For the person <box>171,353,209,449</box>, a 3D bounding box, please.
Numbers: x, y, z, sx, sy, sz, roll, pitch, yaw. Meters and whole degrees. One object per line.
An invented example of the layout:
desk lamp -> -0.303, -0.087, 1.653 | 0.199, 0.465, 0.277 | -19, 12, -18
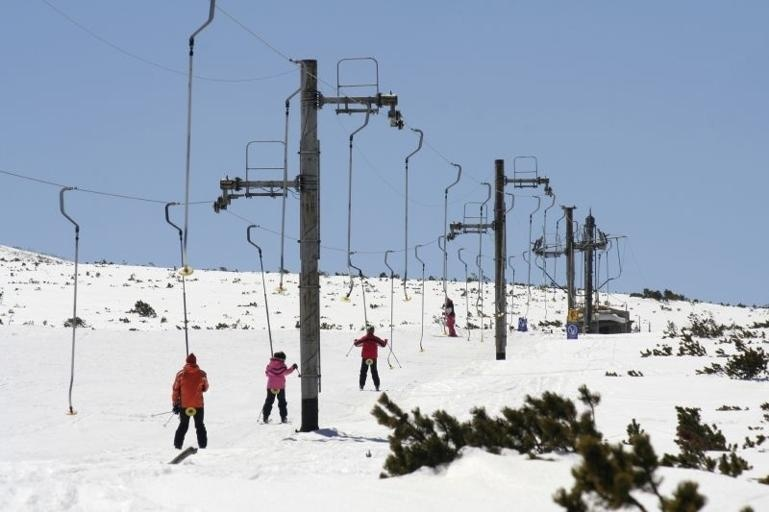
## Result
person -> -6.106, 4.503, 39.506 | 1.097, 2.897, 1.310 | 1, -3, -10

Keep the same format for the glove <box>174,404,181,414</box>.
glove -> -6.517, 4.772, 39.441 | 0.197, 0.245, 0.263 | 2, -4, -25

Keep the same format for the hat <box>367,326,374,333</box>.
hat -> -0.459, 2.610, 44.941 | 0.166, 0.234, 0.238 | -7, -6, 10
